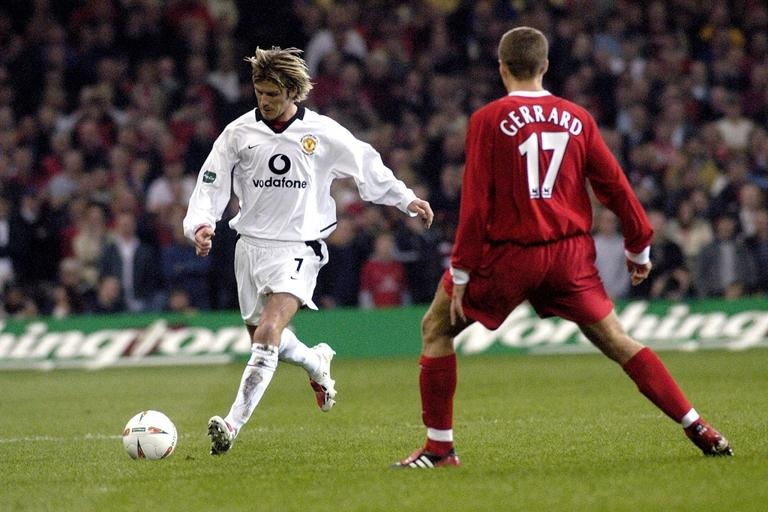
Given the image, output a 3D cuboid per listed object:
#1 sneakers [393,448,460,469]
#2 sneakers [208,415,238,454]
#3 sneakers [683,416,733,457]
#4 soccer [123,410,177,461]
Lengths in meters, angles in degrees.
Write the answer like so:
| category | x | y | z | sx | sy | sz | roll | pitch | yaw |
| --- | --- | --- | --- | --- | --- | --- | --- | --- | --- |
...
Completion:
| category | x | y | z | sx | sy | sz | roll | pitch | yaw |
| --- | --- | --- | --- | --- | --- | --- | --- | --- | --- |
| sneakers | 0.402 | 1.915 | 10.149 | 0.614 | 0.189 | 0.222 | 2 | -7 | -5 |
| sneakers | -1.561 | 1.698 | 10.346 | 0.170 | 0.470 | 0.246 | 17 | 37 | 19 |
| sneakers | 3.039 | 1.733 | 10.043 | 0.187 | 0.477 | 0.252 | -50 | -1 | -42 |
| soccer | -2.338 | 1.757 | 10.664 | 0.487 | 0.484 | 0.463 | -1 | -4 | 4 |
